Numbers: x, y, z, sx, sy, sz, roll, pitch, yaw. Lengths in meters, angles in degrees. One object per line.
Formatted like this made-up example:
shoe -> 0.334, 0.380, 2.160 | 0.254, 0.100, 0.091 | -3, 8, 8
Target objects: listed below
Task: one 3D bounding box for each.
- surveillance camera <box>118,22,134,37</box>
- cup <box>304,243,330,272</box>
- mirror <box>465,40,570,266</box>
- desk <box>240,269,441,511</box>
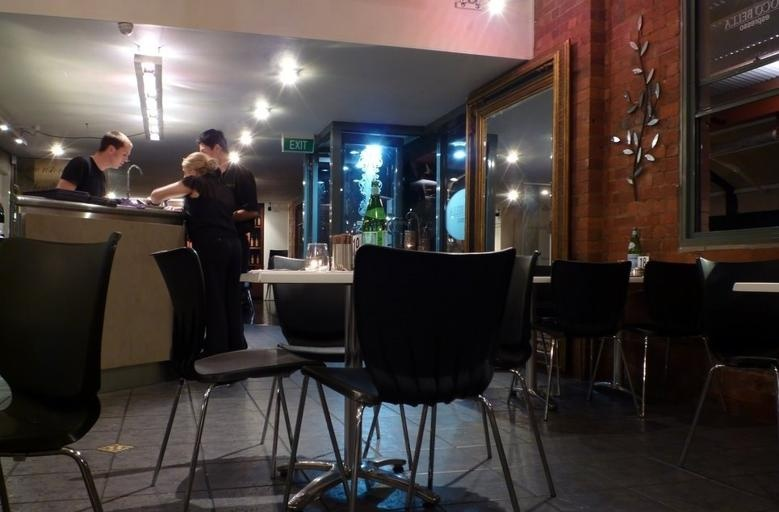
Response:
surveillance camera -> -2.702, -2.339, 5.838 | 0.092, 0.106, 0.112 | -1, -16, -22
cup -> -0.440, 0.004, 3.321 | 0.154, 0.162, 0.153 | -1, -2, 0
mirror -> 1.497, -1.230, 6.457 | 0.213, 2.900, 2.607 | 0, 1, -17
desk -> -0.255, 0.735, 3.303 | 1.261, 1.322, 1.233 | 0, -5, 0
